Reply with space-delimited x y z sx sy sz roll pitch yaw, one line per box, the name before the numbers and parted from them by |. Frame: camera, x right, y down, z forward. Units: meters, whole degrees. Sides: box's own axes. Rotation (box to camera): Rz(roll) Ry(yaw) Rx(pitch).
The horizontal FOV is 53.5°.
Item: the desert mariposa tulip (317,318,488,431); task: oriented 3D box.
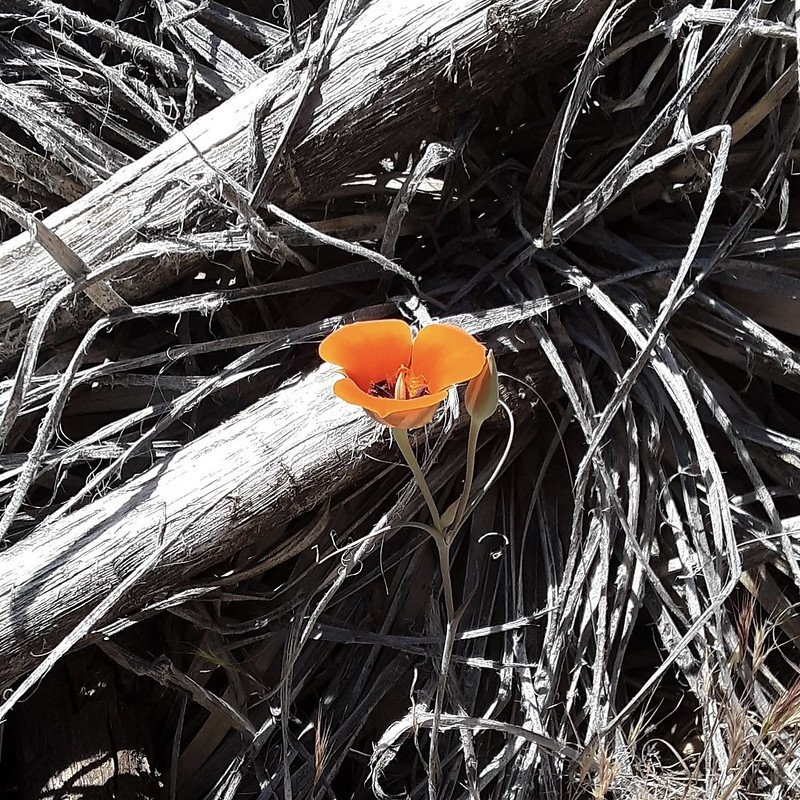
desert mariposa tulip | -0.004 -0.024 0.631 0.097 0.046 0.101 -29 46 -28
